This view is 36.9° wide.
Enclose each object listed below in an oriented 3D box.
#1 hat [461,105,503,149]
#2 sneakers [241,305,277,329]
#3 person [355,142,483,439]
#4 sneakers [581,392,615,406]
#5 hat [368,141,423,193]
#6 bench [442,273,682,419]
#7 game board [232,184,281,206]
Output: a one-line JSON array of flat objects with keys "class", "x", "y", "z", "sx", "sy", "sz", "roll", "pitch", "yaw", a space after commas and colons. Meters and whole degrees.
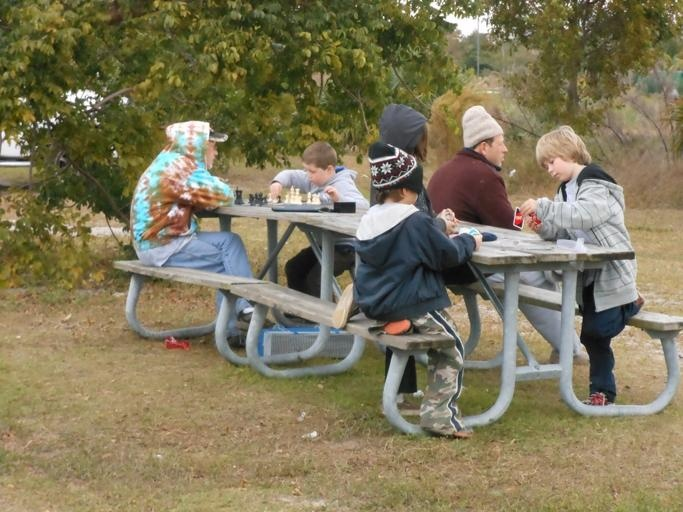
[{"class": "hat", "x": 1.244, "y": -1.131, "z": 8.862, "sx": 0.415, "sy": 0.377, "sz": 0.336, "roll": -10, "pitch": 4, "yaw": 21}, {"class": "sneakers", "x": -0.811, "y": 0.589, "z": 9.598, "sx": 0.423, "sy": 0.181, "sz": 0.148, "roll": 0, "pitch": 2, "yaw": 28}, {"class": "person", "x": 0.559, "y": 0.267, "z": 7.660, "sx": 0.914, "sy": 2.246, "sz": 0.350, "roll": -1, "pitch": 4, "yaw": 0}, {"class": "sneakers", "x": 2.054, "y": 1.138, "z": 8.171, "sx": 0.264, "sy": 0.121, "sz": 0.103, "roll": 5, "pitch": -7, "yaw": 0}, {"class": "hat", "x": 0.413, "y": -0.663, "z": 7.742, "sx": 0.473, "sy": 0.442, "sz": 0.332, "roll": -12, "pitch": 17, "yaw": -34}, {"class": "bench", "x": 1.813, "y": 0.762, "z": 8.176, "sx": 1.295, "sy": 0.888, "sz": 1.307, "roll": -4, "pitch": 6, "yaw": -26}, {"class": "game board", "x": -0.767, "y": -0.610, "z": 10.417, "sx": 0.632, "sy": 0.243, "sz": 0.187, "roll": 1, "pitch": 1, "yaw": -23}]
